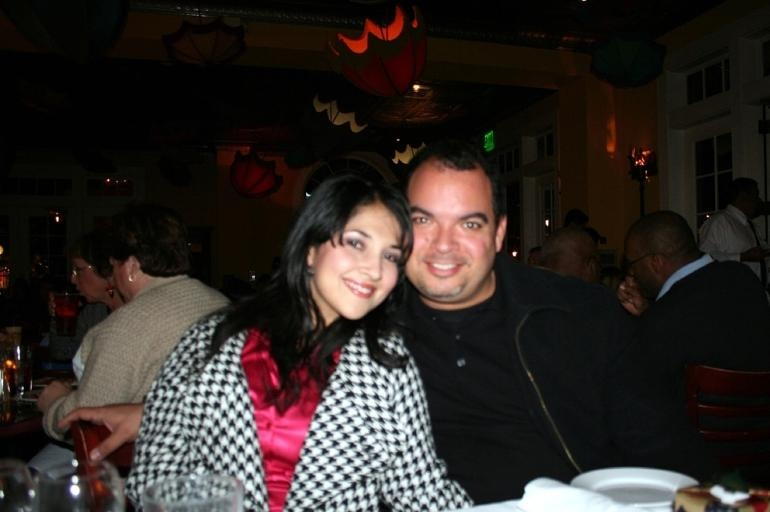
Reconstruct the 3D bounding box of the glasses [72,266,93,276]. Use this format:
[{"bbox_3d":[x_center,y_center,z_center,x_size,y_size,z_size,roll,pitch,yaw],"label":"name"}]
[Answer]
[{"bbox_3d":[-2.110,0.102,4.329,0.114,0.037,0.122,0,1,28],"label":"glasses"}]
